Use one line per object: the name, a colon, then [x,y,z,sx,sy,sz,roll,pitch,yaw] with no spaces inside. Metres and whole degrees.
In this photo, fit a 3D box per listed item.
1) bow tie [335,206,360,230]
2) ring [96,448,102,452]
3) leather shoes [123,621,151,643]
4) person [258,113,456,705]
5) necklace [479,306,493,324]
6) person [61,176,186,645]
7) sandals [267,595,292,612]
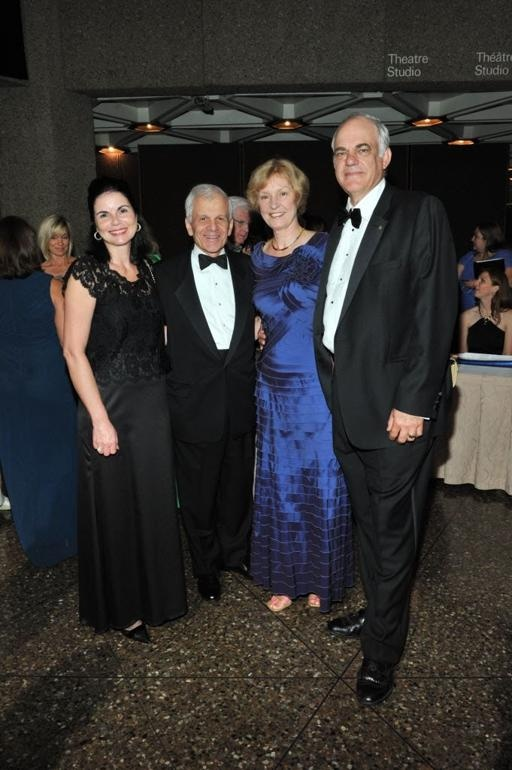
bow tie: [0.318,-0.572,2.135,0.032,0.083,0.090,3,1,-33]
ring: [-0.567,0.235,2.274,0.013,0.017,0.004,-26,4,22]
leather shoes: [-0.462,0.982,2.496,0.053,0.030,0.114,-6,21,-41]
person: [0.444,0.071,2.164,0.379,1.920,0.506,-4,12,-9]
necklace: [1.629,-0.485,4.450,0.097,0.098,0.031,2,11,41]
person: [-0.534,0.103,2.410,0.411,1.720,0.302,-6,12,-18]
sandals: [0.102,0.940,2.704,0.103,0.059,0.047,5,23,-2]
